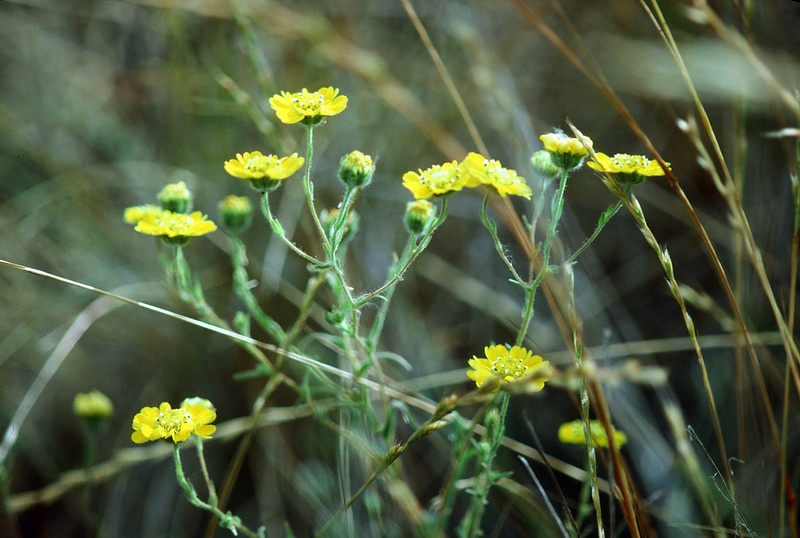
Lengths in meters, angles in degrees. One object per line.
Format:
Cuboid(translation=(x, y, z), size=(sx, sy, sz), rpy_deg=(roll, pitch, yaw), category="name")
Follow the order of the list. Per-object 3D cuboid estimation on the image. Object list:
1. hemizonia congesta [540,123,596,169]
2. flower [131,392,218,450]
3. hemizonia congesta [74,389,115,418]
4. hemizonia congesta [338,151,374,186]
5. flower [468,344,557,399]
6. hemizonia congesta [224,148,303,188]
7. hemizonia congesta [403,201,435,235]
Cuboid(translation=(0.581, -0.412, 2.610), size=(0.171, 0.123, 0.172), rpy_deg=(-3, 7, -32), category="hemizonia congesta")
Cuboid(translation=(-0.773, 0.480, 2.515), size=(0.195, 0.087, 0.209), rpy_deg=(-3, 8, 33), category="flower")
Cuboid(translation=(-1.259, 0.555, 3.021), size=(0.128, 0.084, 0.135), rpy_deg=(17, -3, 44), category="hemizonia congesta")
Cuboid(translation=(-0.155, -0.359, 2.632), size=(0.121, 0.143, 0.110), rpy_deg=(3, -28, -18), category="hemizonia congesta")
Cuboid(translation=(0.384, 0.346, 2.522), size=(0.246, 0.107, 0.282), rpy_deg=(0, 5, -8), category="flower")
Cuboid(translation=(-0.474, -0.350, 2.565), size=(0.189, 0.093, 0.190), rpy_deg=(-9, 24, -39), category="hemizonia congesta")
Cuboid(translation=(0.071, -0.188, 2.728), size=(0.098, 0.132, 0.121), rpy_deg=(1, 4, -2), category="hemizonia congesta")
